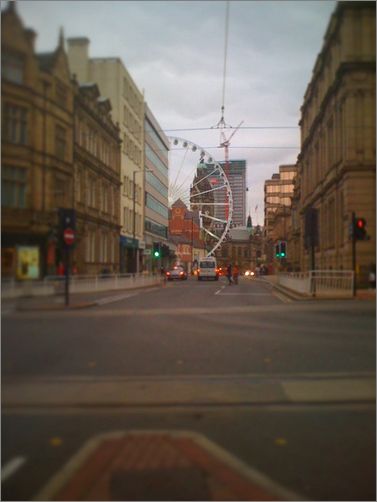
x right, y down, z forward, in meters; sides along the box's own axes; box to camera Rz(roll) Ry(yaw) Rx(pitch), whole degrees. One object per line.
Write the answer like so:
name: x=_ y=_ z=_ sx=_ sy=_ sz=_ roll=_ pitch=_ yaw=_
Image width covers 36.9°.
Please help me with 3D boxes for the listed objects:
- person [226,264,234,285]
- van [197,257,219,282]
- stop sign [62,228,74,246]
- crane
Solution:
person: x=3.027 y=1.710 z=40.970 sx=0.430 sy=1.445 sz=1.364 roll=0 pitch=-1 yaw=6
van: x=1.852 y=1.730 z=52.890 sx=1.859 sy=2.130 sz=1.568 roll=0 pitch=-1 yaw=7
stop sign: x=-3.950 y=-0.463 z=18.434 sx=0.453 sy=0.792 sz=0.088 roll=-1 pitch=1 yaw=-42
crane: x=32.062 y=-39.851 z=360.750 sx=13.749 sy=102.988 sz=7.191 roll=-1 pitch=4 yaw=2
